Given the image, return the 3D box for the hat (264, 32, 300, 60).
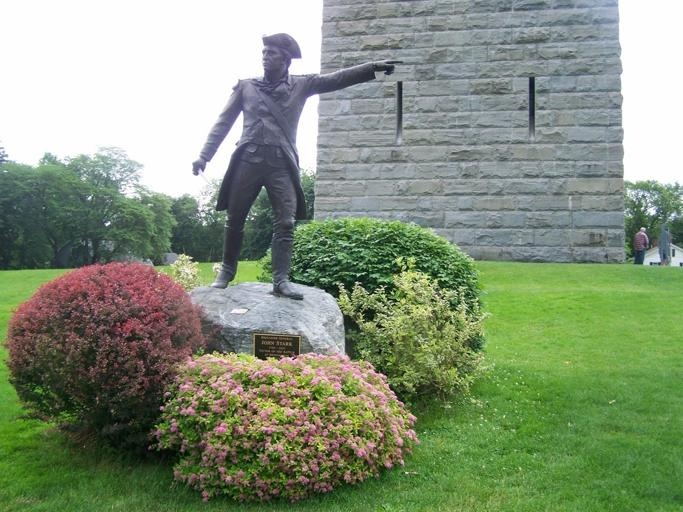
[{"bbox_3d":[-0.732,-2.557,7.423,0.474,0.276,0.549,1,-1,-6],"label":"hat"}]
